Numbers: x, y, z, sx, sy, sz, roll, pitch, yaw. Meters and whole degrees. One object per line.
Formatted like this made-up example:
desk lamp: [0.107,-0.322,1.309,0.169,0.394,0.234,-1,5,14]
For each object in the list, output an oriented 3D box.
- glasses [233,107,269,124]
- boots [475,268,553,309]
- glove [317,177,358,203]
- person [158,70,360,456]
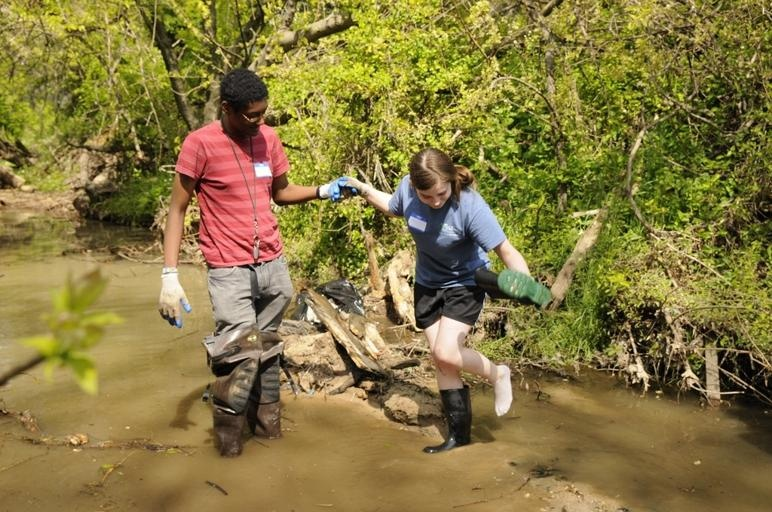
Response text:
glasses: [-1.395,-1.443,6.903,0.186,0.184,0.061,-15,-27,-23]
boots: [1.296,0.268,6.837,0.462,0.184,0.529,25,2,-4]
glove: [-0.612,-0.750,7.771,0.379,0.185,0.289,-4,-15,-29]
person: [-1.585,0.098,7.046,1.500,3.982,0.752,-3,10,-25]
